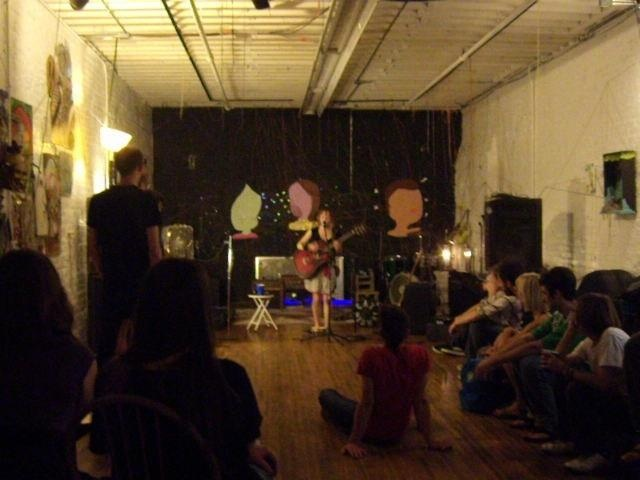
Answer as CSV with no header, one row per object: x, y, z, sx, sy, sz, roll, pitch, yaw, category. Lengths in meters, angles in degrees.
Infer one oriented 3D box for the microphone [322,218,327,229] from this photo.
0.067,-0.230,8.723,0.082,0.094,0.018,2,0,38,microphone

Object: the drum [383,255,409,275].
1.266,0.430,10.530,0.328,0.272,0.342,0,1,0,drum

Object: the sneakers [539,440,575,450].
1.944,1.682,5.086,0.250,0.126,0.101,4,-6,-4,sneakers

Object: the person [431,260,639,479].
1.876,1.016,5.695,1.066,1.605,1.830,1,0,2,person

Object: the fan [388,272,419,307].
1.188,0.757,9.798,0.485,0.578,0.119,3,-5,24,fan

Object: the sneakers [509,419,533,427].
1.799,1.633,5.513,0.107,0.047,0.089,-6,-11,-1,sneakers

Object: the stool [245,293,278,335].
-0.947,1.203,10.028,0.529,0.788,0.583,1,-7,-8,stool

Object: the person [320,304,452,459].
0.518,1.096,5.457,0.944,1.594,1.084,1,8,-7,person

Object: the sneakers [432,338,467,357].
1.636,1.367,7.954,0.154,0.183,0.454,1,-7,-8,sneakers

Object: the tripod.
0.058,1.097,9.129,0.543,0.959,0.682,-1,4,-14,tripod

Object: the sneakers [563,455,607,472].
2.060,1.726,4.779,0.324,0.152,0.127,0,11,-3,sneakers

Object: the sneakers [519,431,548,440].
1.806,1.653,5.240,0.207,0.111,0.077,-3,-3,2,sneakers
